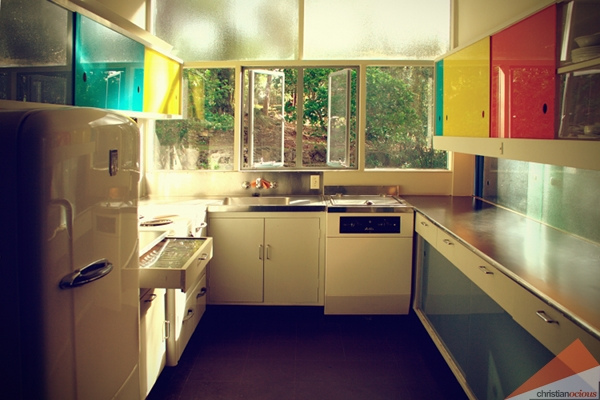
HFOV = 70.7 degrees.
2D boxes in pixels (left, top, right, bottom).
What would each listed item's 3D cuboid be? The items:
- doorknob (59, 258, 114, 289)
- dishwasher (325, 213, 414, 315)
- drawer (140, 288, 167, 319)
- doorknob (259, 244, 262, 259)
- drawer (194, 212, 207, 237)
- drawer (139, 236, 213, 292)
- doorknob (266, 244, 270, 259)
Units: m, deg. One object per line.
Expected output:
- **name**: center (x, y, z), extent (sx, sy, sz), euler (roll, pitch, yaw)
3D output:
- **doorknob**: center (-0.864, 0.291, 1.749), extent (0.100, 0.062, 0.218), euler (28, 24, 24)
- **dishwasher**: center (0.672, 0.600, 4.352), extent (0.920, 1.275, 0.859), euler (0, 0, 3)
- **drawer**: center (-0.932, 0.666, 2.721), extent (0.036, 0.147, 0.156), euler (21, 14, 12)
- **doorknob**: center (-0.367, 0.492, 4.080), extent (0.025, 0.137, 0.021), euler (-1, 14, 0)
- **drawer**: center (-0.883, 0.209, 3.782), extent (0.100, 0.052, 0.233), euler (-3, 21, -1)
- **drawer**: center (-0.823, 0.394, 2.731), extent (0.295, 0.111, 0.434), euler (0, 10, -1)
- **doorknob**: center (-0.300, 0.493, 4.080), extent (0.037, 0.137, 0.024), euler (-2, 14, -5)
